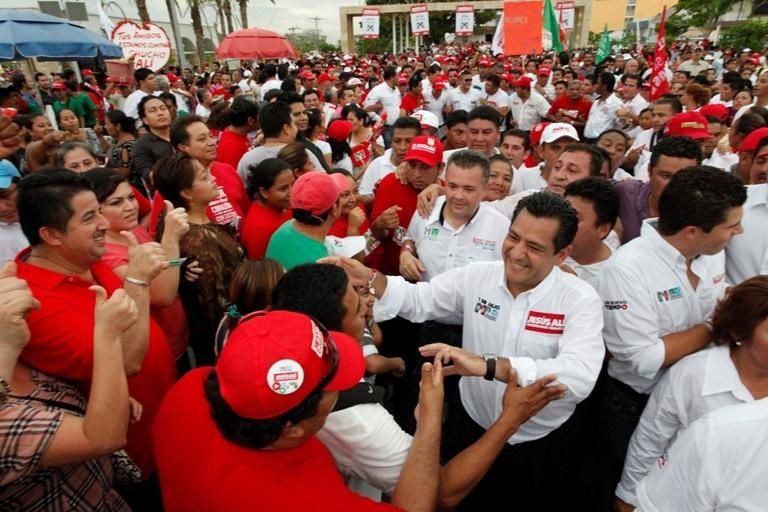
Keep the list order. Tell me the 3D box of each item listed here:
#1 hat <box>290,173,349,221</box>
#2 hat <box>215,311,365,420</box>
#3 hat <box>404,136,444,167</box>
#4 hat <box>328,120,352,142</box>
[{"bbox_3d":[-0.527,-0.575,3.864,0.332,0.305,0.314,3,24,5],"label":"hat"},{"bbox_3d":[-0.455,0.522,2.505,0.732,0.434,0.394,-9,25,-20],"label":"hat"},{"bbox_3d":[0.391,-1.169,4.857,0.270,0.191,0.377,15,12,17],"label":"hat"},{"bbox_3d":[-0.561,-1.887,6.566,0.244,0.341,0.190,17,-3,12],"label":"hat"}]
